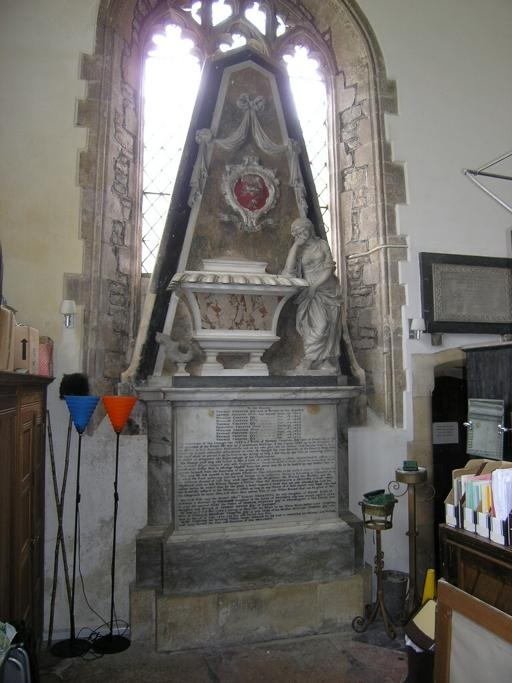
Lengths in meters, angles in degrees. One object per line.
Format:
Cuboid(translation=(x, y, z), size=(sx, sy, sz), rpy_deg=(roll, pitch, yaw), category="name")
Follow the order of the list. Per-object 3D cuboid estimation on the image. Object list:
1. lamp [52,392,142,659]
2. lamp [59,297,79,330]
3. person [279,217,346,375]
Cuboid(translation=(-0.964, 1.071, 3.667), size=(0.448, 1.488, 0.530), rpy_deg=(1, -2, -13), category="lamp")
Cuboid(translation=(-1.211, -0.173, 3.980), size=(0.124, 0.184, 0.094), rpy_deg=(2, -3, -33), category="lamp")
Cuboid(translation=(0.373, -0.308, 4.121), size=(0.287, 1.035, 0.406), rpy_deg=(-1, -3, 40), category="person")
